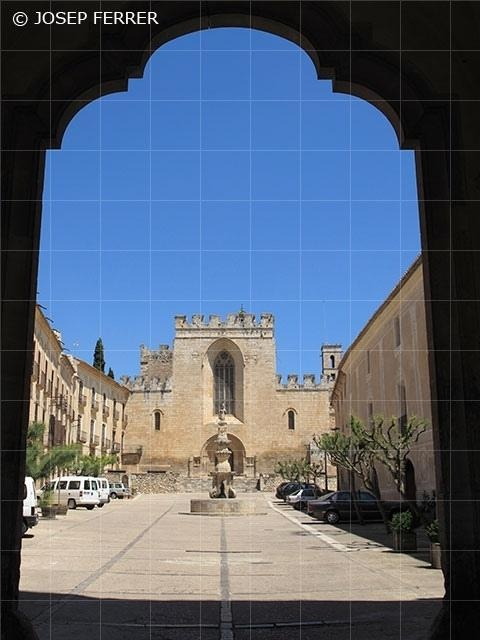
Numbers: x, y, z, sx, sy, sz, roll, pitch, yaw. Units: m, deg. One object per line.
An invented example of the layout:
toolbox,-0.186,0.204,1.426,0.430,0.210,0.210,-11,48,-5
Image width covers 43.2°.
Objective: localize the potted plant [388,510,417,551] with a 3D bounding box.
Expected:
potted plant,2.050,2.647,7.609,0.328,0.449,0.531,-2,-7,14
